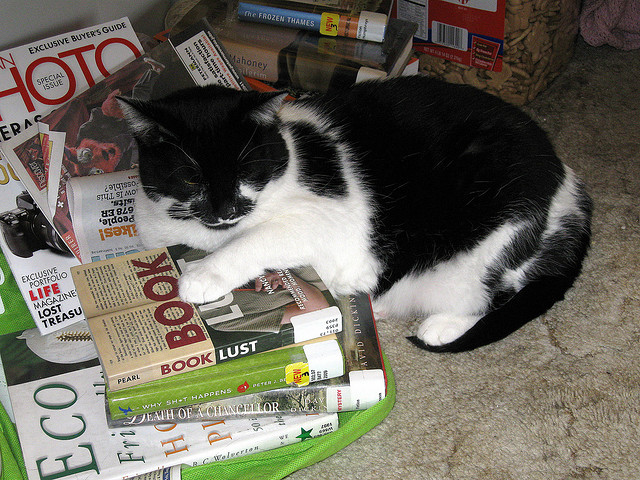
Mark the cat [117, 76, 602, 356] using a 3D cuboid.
[{"bbox_3d":[0.101,0.002,1.368,0.952,0.360,0.656,-8,54,-9],"label":"cat"}]

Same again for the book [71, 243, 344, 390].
[{"bbox_3d":[-0.231,0.157,1.194,0.482,0.088,0.328,-7,35,-22],"label":"book"}]
